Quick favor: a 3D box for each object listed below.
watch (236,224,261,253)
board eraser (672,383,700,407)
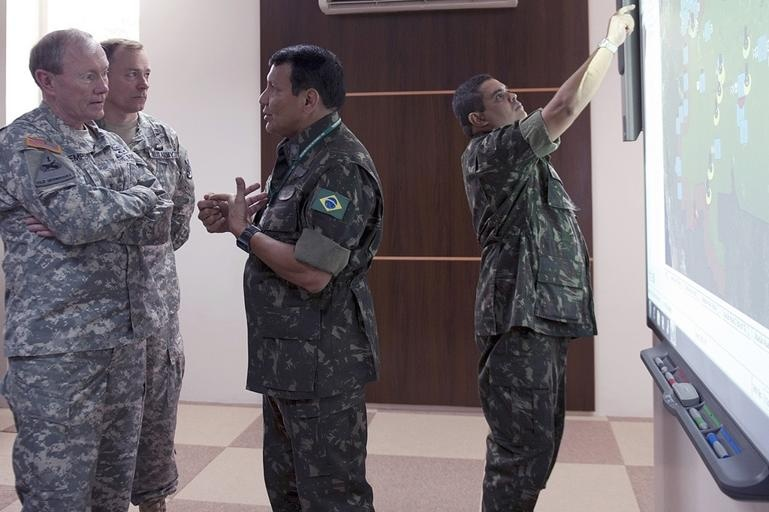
[{"bbox_3d":[-0.537,-0.065,2.544,0.071,0.113,0.113,29,4,12],"label":"watch"},{"bbox_3d":[0.936,0.427,1.988,0.048,0.058,0.091,0,9,3],"label":"board eraser"}]
